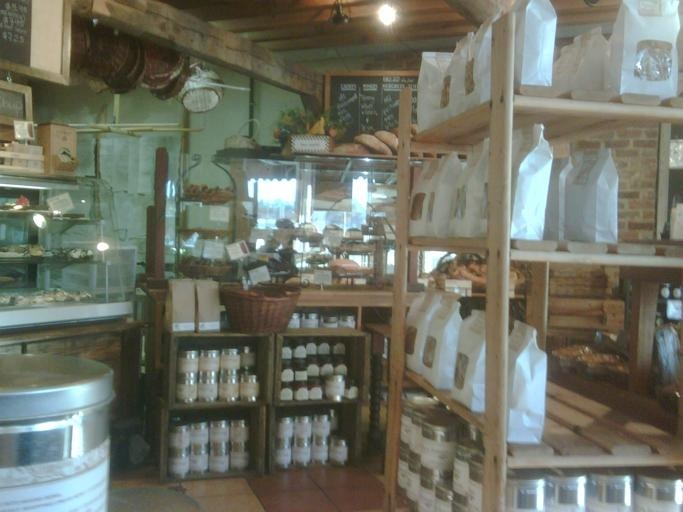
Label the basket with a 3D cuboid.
[{"bbox_3d":[-0.528,0.333,4.401,0.370,0.194,0.331,-6,-8,43],"label":"basket"}]

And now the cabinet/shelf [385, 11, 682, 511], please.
[{"bbox_3d":[0.710,0.085,3.238,0.925,2.340,1.135,-6,16,-27],"label":"cabinet/shelf"}]

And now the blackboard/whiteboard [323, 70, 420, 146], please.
[{"bbox_3d":[0.241,-1.298,6.181,1.145,0.863,0.120,0,0,-2],"label":"blackboard/whiteboard"}]
